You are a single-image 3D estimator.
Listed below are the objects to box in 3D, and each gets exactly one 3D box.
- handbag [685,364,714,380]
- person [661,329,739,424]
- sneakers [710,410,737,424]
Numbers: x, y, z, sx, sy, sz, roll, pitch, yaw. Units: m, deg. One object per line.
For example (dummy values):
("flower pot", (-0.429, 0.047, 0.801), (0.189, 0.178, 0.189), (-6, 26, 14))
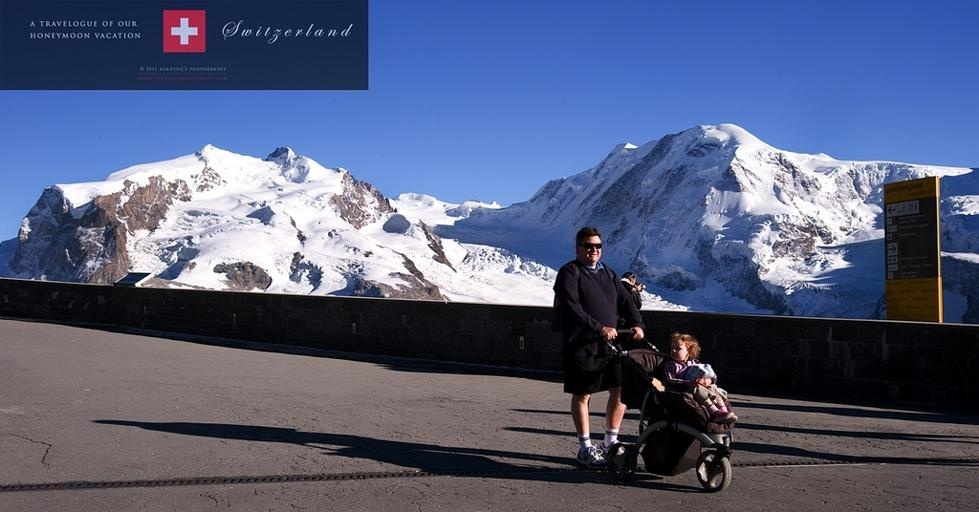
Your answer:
("handbag", (3.656, 2.047, 15.399), (0.522, 0.310, 0.210), (-4, 16, -20))
("person", (3.706, 2.095, 15.409), (1.018, 1.383, 1.605), (0, 4, -35))
("sneakers", (3.996, 2.798, 15.289), (0.560, 0.201, 0.169), (-4, -2, 11))
